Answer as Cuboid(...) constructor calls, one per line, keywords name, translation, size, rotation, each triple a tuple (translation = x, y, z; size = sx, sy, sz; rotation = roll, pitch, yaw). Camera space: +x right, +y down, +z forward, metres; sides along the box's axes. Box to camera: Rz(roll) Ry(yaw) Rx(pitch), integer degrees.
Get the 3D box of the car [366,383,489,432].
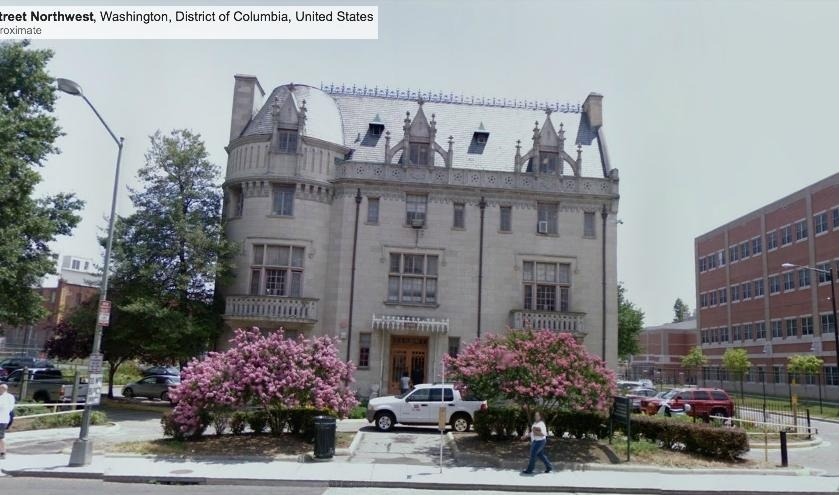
Cuboid(name="car", translation=(0.430, 10.350, 43.835), size=(7.226, 2.637, 3.423), rotation=(1, -14, 3))
